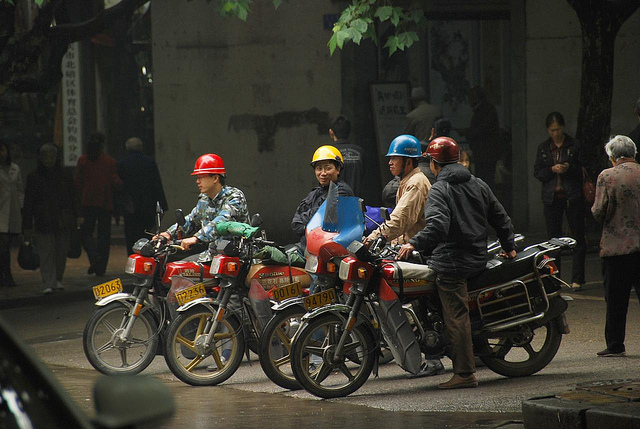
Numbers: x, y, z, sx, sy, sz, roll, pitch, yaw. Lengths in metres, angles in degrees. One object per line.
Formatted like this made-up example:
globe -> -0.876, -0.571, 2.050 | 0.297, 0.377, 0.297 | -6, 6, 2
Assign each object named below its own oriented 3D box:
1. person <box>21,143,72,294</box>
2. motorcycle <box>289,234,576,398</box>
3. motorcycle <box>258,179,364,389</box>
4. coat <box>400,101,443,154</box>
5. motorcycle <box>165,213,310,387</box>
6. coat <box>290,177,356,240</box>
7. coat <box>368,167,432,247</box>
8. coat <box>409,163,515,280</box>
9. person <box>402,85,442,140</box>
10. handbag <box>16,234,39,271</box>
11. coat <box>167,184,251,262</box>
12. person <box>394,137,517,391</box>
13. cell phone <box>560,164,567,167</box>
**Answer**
person -> -4.969, 0.025, 16.369 | 0.757, 2.623, 1.053 | -1, 6, 13
motorcycle -> 1.268, 0.989, 10.568 | 3.388, 1.952, 1.597 | -4, -4, -10
motorcycle -> -0.085, 0.810, 10.371 | 1.242, 2.366, 0.750 | -3, 6, 2
coat -> 1.987, -1.830, 17.460 | 0.696, 0.757, 0.596 | -3, 6, -1
motorcycle -> -1.731, 0.941, 11.721 | 1.352, 1.866, 3.210 | -4, 1, 42
coat -> -0.025, -0.138, 11.450 | 0.600, 0.821, 0.332 | 24, 6, 31
coat -> 1.039, -0.111, 10.835 | 0.831, 1.133, 0.871 | 4, 1, 0
coat -> 1.586, 0.059, 10.464 | 1.736, 1.341, 0.667 | -6, 5, -37
person -> 1.959, -1.981, 17.496 | 0.693, 1.005, 0.561 | -2, 6, 5
handbag -> -5.378, 0.665, 16.730 | 0.369, 0.726, 0.298 | 3, 37, -2
coat -> -1.443, 0.132, 11.630 | 1.072, 1.094, 0.888 | 6, -6, -28
person -> 1.540, 0.522, 10.328 | 1.328, 2.816, 0.620 | -7, 7, -36
cell phone -> 3.926, -0.809, 14.592 | 0.107, 0.043, 0.037 | -1, 6, 15
